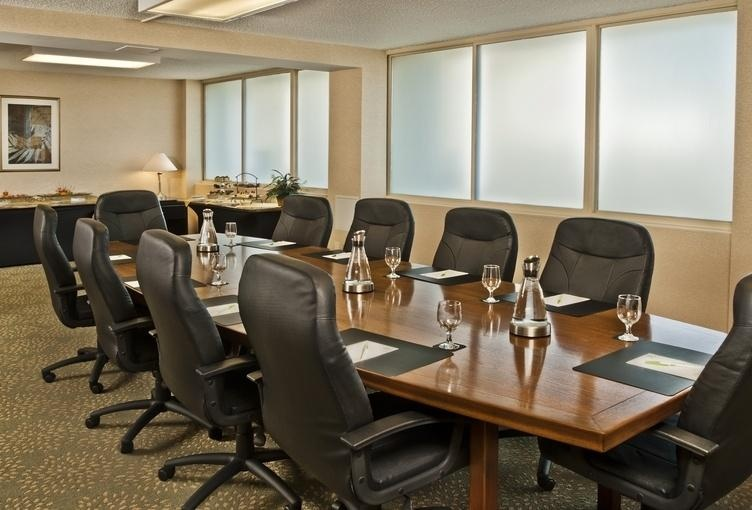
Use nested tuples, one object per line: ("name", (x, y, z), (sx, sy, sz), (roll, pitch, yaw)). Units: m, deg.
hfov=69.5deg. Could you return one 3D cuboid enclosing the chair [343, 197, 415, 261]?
("chair", (0.199, -0.249, 5.042), (0.568, 0.709, 0.644), (3, 3, 31))
